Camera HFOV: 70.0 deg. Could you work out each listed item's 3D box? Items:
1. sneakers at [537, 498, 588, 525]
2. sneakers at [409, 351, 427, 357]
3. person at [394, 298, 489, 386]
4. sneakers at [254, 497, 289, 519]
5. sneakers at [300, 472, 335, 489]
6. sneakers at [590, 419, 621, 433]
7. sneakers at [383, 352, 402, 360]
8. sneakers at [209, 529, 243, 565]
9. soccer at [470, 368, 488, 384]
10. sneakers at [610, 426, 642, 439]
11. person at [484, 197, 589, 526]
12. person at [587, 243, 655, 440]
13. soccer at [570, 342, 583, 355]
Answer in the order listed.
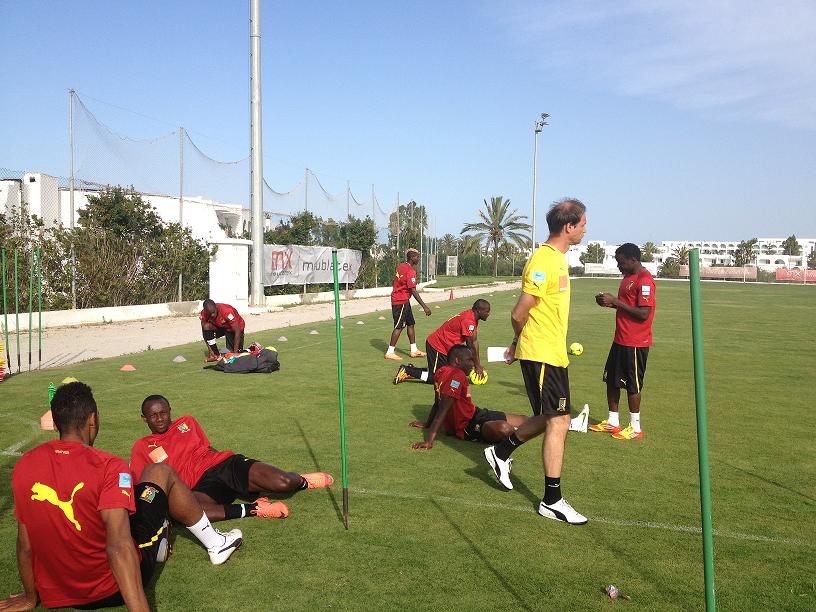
[{"bbox_3d":[1.299,1.717,4.907,0.397,0.173,0.161,6,6,23],"label":"sneakers"},{"bbox_3d":[0.218,0.984,12.343,0.337,0.157,0.125,-3,5,-6],"label":"sneakers"},{"bbox_3d":[0.548,0.594,8.772,1.807,1.659,0.912,-1,7,14],"label":"person"},{"bbox_3d":[-1.147,1.690,4.925,0.209,0.091,0.147,5,1,4],"label":"sneakers"},{"bbox_3d":[-0.825,1.589,5.366,0.249,0.168,0.085,0,-25,-12],"label":"sneakers"},{"bbox_3d":[2.448,1.474,7.224,0.345,0.179,0.145,6,-8,12],"label":"sneakers"},{"bbox_3d":[-0.315,1.007,11.951,0.377,0.176,0.131,6,8,-5],"label":"sneakers"},{"bbox_3d":[-1.357,1.787,4.412,0.107,0.160,0.334,2,13,21],"label":"sneakers"},{"bbox_3d":[1.111,1.111,9.069,0.286,0.202,0.368,1,0,-22],"label":"soccer"},{"bbox_3d":[2.618,1.511,6.975,0.366,0.166,0.149,2,-3,-9],"label":"sneakers"},{"bbox_3d":[1.199,0.406,5.139,0.798,2.717,1.338,2,6,12],"label":"person"},{"bbox_3d":[2.619,0.406,7.006,0.597,2.316,0.859,3,6,22],"label":"person"},{"bbox_3d":[3.489,0.859,12.024,0.215,0.234,0.285,-13,21,0],"label":"soccer"}]
